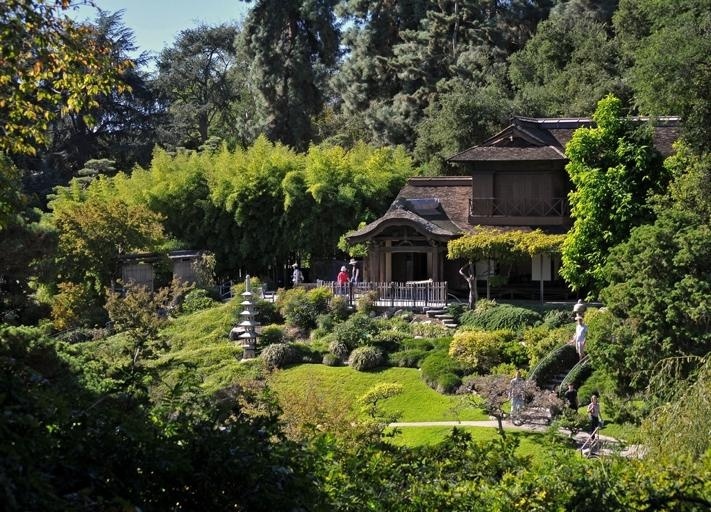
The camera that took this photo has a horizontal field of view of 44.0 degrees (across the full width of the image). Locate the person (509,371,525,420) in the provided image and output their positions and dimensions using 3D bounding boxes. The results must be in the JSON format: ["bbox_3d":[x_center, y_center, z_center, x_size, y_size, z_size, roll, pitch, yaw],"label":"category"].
[{"bbox_3d":[5.023,4.304,27.222,0.446,1.431,1.006,-2,-4,10],"label":"person"}]

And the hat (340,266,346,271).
[{"bbox_3d":[-0.564,0.579,42.218,0.209,0.245,0.079,1,3,-7],"label":"hat"}]

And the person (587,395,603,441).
[{"bbox_3d":[6.999,4.641,25.687,0.387,1.170,1.171,-2,-4,15],"label":"person"}]

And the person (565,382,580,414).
[{"bbox_3d":[6.772,4.366,27.594,0.381,0.830,2.015,-2,-5,14],"label":"person"}]

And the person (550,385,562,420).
[{"bbox_3d":[6.235,4.601,27.528,0.337,0.842,1.778,-2,-5,13],"label":"person"}]

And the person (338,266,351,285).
[{"bbox_3d":[-0.486,0.890,40.620,0.562,1.391,0.412,3,5,22],"label":"person"}]

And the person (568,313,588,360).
[{"bbox_3d":[7.643,2.749,29.961,0.521,1.518,2.425,-2,-5,14],"label":"person"}]
